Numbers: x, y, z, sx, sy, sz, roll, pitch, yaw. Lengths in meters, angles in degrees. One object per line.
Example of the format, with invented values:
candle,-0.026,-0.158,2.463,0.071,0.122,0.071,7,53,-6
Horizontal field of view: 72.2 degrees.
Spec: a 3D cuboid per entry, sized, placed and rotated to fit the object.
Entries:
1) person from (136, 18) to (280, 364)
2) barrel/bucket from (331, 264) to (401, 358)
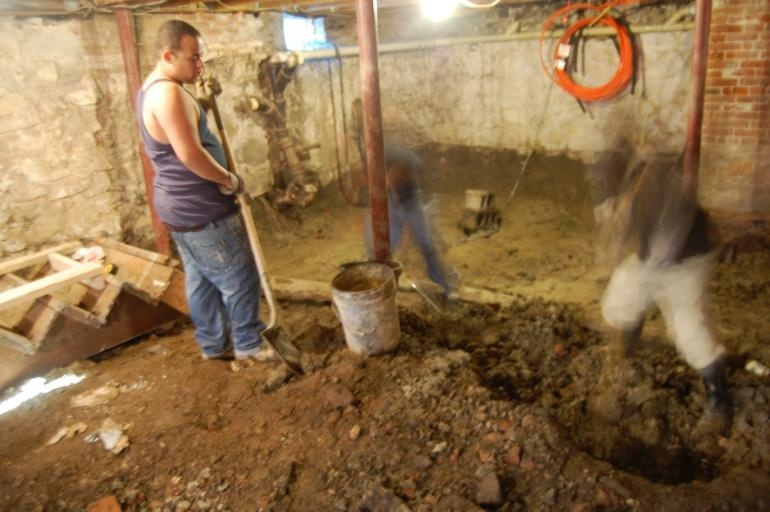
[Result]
person,-1.705,-0.499,5.068,0.952,3.238,0.541,1,24,14
barrel/bucket,-0.201,0.527,5.433,0.641,0.811,0.554,-7,23,-6
